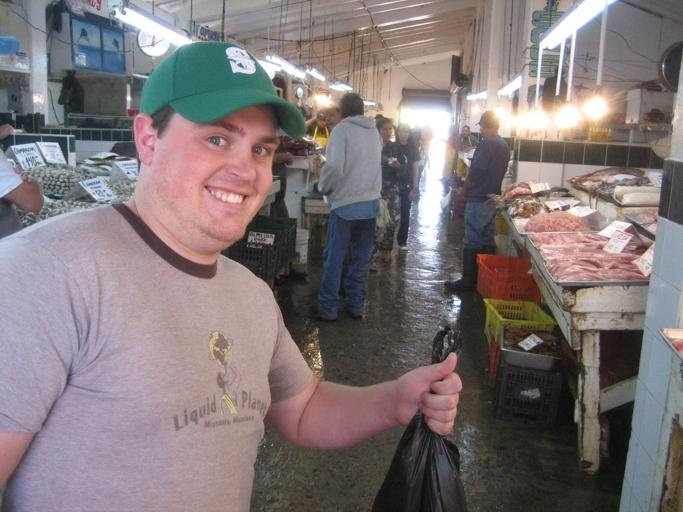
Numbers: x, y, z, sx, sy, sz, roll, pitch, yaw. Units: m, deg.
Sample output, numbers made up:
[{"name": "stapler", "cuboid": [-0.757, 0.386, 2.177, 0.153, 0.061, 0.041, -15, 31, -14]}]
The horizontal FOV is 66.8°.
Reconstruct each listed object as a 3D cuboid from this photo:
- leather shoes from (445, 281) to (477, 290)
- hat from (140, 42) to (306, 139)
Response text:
[{"name": "leather shoes", "cuboid": [1.391, 0.340, 6.060, 0.348, 0.157, 0.131, -1, 6, 1]}, {"name": "hat", "cuboid": [-0.273, -0.335, 1.183, 0.292, 0.154, 0.224, 9, 11, 28]}]
